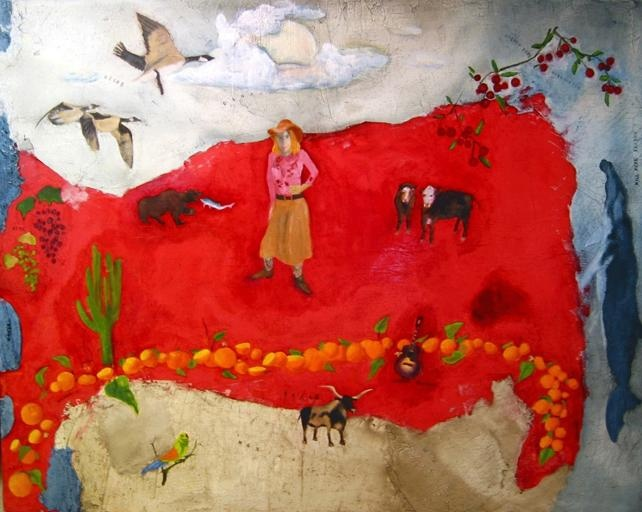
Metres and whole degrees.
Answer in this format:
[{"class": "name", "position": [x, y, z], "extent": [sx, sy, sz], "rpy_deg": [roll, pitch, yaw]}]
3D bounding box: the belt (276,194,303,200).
[{"class": "belt", "position": [-0.170, -0.320, 7.620], "extent": [0.142, 0.027, 0.025], "rpy_deg": [-3, 30, 0]}]
